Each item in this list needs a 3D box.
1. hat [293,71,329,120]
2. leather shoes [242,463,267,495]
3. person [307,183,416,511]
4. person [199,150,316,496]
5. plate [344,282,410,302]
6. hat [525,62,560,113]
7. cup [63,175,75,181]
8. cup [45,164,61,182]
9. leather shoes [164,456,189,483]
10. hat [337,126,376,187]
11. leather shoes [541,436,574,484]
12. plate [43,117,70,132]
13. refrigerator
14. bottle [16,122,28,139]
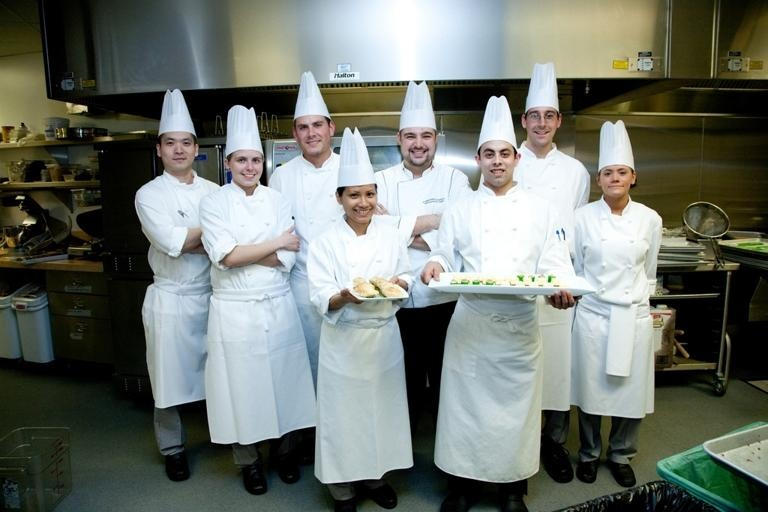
[{"bbox_3d":[-0.502,-1.054,3.913,0.211,0.304,0.275,-7,15,-21],"label":"hat"},{"bbox_3d":[-0.854,1.456,3.907,0.096,0.107,0.272,-2,5,-29],"label":"leather shoes"},{"bbox_3d":[-0.144,0.584,3.596,0.590,1.987,0.489,-2,14,0],"label":"person"},{"bbox_3d":[-0.850,0.246,3.770,0.668,1.795,0.498,-6,15,-18],"label":"person"},{"bbox_3d":[-0.033,0.221,3.333,0.318,0.092,0.168,-2,13,-4],"label":"plate"},{"bbox_3d":[1.039,-1.102,3.890,0.191,0.309,0.169,2,15,15],"label":"hat"},{"bbox_3d":[-3.051,-0.750,5.735,0.073,0.048,0.072,0,7,0],"label":"cup"},{"bbox_3d":[-3.246,-0.811,5.817,0.122,0.161,0.300,-12,17,-35],"label":"cup"},{"bbox_3d":[-1.386,1.419,3.965,0.091,0.101,0.238,1,-2,-31],"label":"leather shoes"},{"bbox_3d":[-0.177,-0.595,3.606,0.225,0.348,0.276,-2,14,-2],"label":"hat"},{"bbox_3d":[1.153,1.359,3.930,0.123,0.130,0.359,-7,5,-9],"label":"leather shoes"},{"bbox_3d":[-3.223,-1.274,5.861,0.194,0.129,0.161,8,12,42],"label":"plate"},{"bbox_3d":[-1.882,0.085,4.996,0.552,1.513,0.692,3,8,13],"label":"refrigerator"},{"bbox_3d":[-3.674,-1.255,6.016,0.128,0.168,0.239,-9,16,-28],"label":"bottle"}]
